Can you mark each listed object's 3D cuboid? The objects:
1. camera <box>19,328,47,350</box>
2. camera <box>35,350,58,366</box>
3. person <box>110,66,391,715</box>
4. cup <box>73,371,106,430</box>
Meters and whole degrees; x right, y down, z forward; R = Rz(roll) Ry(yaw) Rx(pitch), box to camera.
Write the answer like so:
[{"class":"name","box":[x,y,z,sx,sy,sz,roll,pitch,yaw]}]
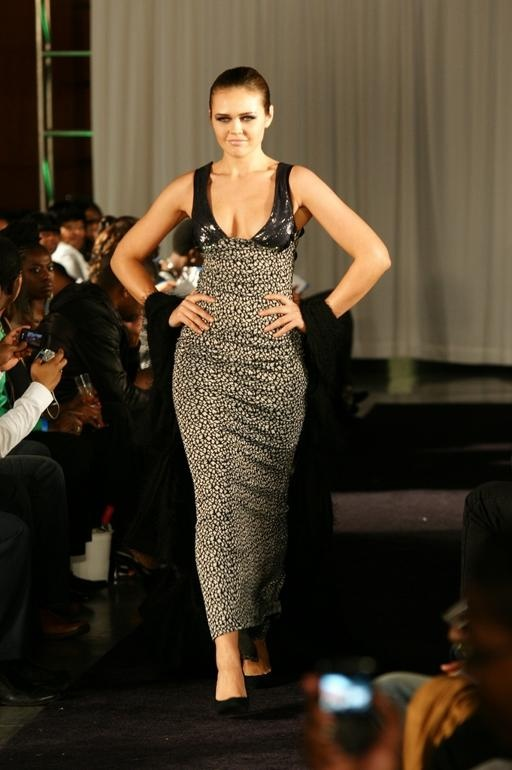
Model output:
[{"class":"camera","box":[-0.791,-0.163,2.596,0.086,0.074,0.220,0,7,-12]},{"class":"camera","box":[-0.628,-0.079,2.187,0.063,0.020,0.060,0,26,7]},{"class":"person","box":[-0.042,-0.009,1.902,0.548,1.542,0.673,-5,11,-41]},{"class":"cup","box":[-0.608,0.071,2.674,0.102,0.218,0.194,0,8,-13]}]
